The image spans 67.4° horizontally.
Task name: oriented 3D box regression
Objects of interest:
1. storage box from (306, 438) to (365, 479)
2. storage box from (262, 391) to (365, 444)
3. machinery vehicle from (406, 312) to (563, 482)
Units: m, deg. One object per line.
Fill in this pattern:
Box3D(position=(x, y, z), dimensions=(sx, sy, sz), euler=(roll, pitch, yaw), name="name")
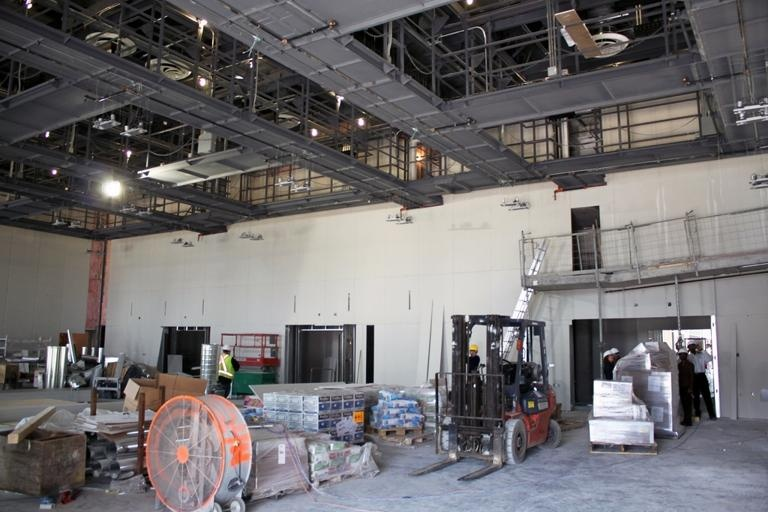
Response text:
Box3D(position=(-1.003, 4.149, 11.761), dimensions=(0.244, 0.806, 1.208), euler=(-9, -13, 43), name="storage box")
Box3D(position=(-1.637, 3.839, 13.683), dimensions=(2.294, 1.190, 1.100), euler=(1, -9, -4), name="storage box")
Box3D(position=(2.440, 3.126, 13.658), dimensions=(3.420, 3.452, 1.759), euler=(7, -12, -37), name="machinery vehicle")
